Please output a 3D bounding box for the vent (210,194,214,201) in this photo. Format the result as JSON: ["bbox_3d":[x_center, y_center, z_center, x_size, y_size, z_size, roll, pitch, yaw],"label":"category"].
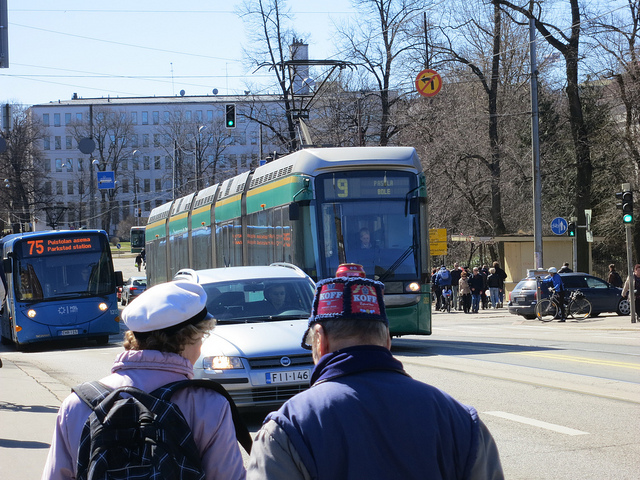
[{"bbox_3d":[-3.149,-1.189,33.204,0.038,0.284,0.271,3,-3,-14],"label":"vent"}]

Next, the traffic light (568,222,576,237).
[{"bbox_3d":[8.772,-0.359,39.837,0.219,0.373,0.464,-2,0,12],"label":"traffic light"}]

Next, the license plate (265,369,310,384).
[{"bbox_3d":[-0.604,2.518,21.031,0.826,0.218,0.085,-2,1,-8],"label":"license plate"}]

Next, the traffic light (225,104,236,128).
[{"bbox_3d":[-3.164,-4.366,40.130,0.382,0.833,0.280,2,9,10],"label":"traffic light"}]

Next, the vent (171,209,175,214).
[{"bbox_3d":[-4.886,-0.951,37.847,0.113,0.225,0.118,-1,1,-17],"label":"vent"}]

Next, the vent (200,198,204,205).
[{"bbox_3d":[-3.543,-1.163,34.249,0.071,0.169,0.395,-2,0,-15],"label":"vent"}]

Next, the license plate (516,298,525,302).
[{"bbox_3d":[6.926,2.074,39.462,0.346,0.100,0.038,-2,0,42],"label":"license plate"}]

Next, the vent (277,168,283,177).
[{"bbox_3d":[-0.998,-1.682,28.493,0.035,0.153,0.152,24,-11,-27],"label":"vent"}]

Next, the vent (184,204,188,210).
[{"bbox_3d":[-4.265,-1.053,36.261,0.036,0.145,0.133,20,-13,-13],"label":"vent"}]

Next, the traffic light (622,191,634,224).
[{"bbox_3d":[9.158,-0.970,33.977,0.268,0.697,0.451,-2,0,10],"label":"traffic light"}]

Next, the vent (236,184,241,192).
[{"bbox_3d":[-2.229,-1.413,31.126,0.021,0.283,0.208,18,-12,-24],"label":"vent"}]

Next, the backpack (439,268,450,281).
[{"bbox_3d":[4.903,1.367,44.858,0.519,0.687,0.363,0,6,1],"label":"backpack"}]

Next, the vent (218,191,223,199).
[{"bbox_3d":[-2.834,-1.298,32.561,0.089,0.158,0.337,-2,0,-14],"label":"vent"}]

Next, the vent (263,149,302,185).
[{"bbox_3d":[-0.953,-1.798,28.561,0.321,0.692,1.868,-2,0,-24],"label":"vent"}]
